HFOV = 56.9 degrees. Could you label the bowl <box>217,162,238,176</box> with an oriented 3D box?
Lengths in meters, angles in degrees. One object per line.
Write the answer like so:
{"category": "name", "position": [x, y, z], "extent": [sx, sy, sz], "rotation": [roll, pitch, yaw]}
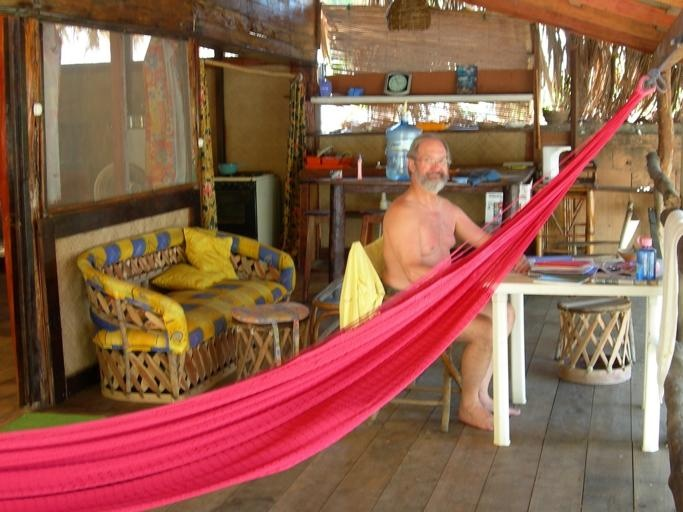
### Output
{"category": "bowl", "position": [-1.336, -1.000, 7.375], "extent": [0.147, 0.112, 0.165], "rotation": [-4, 9, 1]}

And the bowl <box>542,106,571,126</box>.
{"category": "bowl", "position": [2.418, -1.549, 7.074], "extent": [0.189, 0.142, 0.213], "rotation": [-1, 17, -1]}

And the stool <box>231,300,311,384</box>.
{"category": "stool", "position": [-0.486, 0.617, 3.964], "extent": [0.481, 0.597, 0.480], "rotation": [-1, 8, -24]}

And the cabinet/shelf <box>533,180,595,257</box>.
{"category": "cabinet/shelf", "position": [2.459, -0.304, 6.566], "extent": [0.428, 0.739, 0.481], "rotation": [10, 3, 7]}

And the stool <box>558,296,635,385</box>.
{"category": "stool", "position": [1.612, 0.557, 4.091], "extent": [0.383, 0.495, 0.439], "rotation": [-1, -3, 20]}

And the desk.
{"category": "desk", "position": [1.257, 0.414, 3.563], "extent": [0.849, 1.004, 0.947], "rotation": [0, 4, 12]}

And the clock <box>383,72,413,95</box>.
{"category": "clock", "position": [0.665, -1.950, 7.370], "extent": [0.356, 0.426, 0.226], "rotation": [1, -13, 5]}

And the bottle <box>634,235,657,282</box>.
{"category": "bottle", "position": [1.512, 0.009, 3.113], "extent": [0.092, 0.186, 0.264], "rotation": [4, 16, 25]}

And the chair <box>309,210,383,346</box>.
{"category": "chair", "position": [-0.002, 0.183, 3.386], "extent": [0.397, 0.707, 0.461], "rotation": [-8, 10, -16]}

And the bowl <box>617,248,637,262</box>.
{"category": "bowl", "position": [1.582, 0.013, 3.482], "extent": [0.076, 0.077, 0.088], "rotation": [-2, 7, -3]}

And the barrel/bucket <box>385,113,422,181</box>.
{"category": "barrel/bucket", "position": [0.556, -1.031, 6.070], "extent": [0.327, 0.642, 0.345], "rotation": [3, 9, -1]}
